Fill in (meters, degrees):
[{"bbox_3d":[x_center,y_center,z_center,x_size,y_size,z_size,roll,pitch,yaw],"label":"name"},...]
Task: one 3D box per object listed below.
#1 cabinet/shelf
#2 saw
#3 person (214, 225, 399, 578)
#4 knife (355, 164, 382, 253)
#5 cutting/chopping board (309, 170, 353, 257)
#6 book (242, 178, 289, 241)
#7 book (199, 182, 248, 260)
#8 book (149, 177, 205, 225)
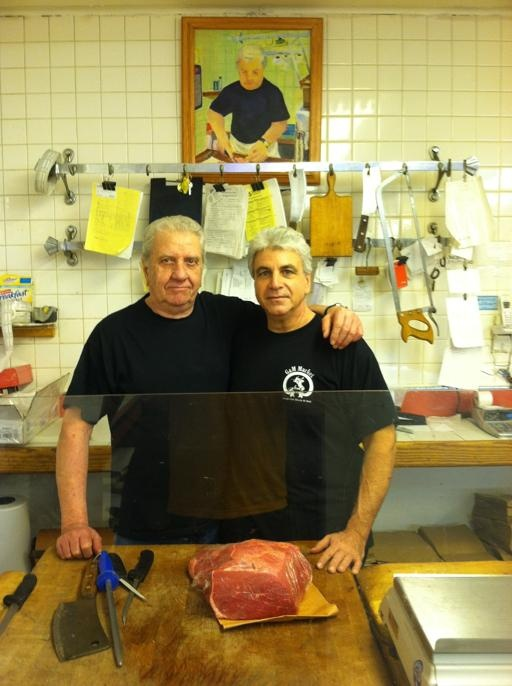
[{"bbox_3d":[-0.162,-0.678,3.205,1.873,0.482,0.296,0,11,1],"label":"cabinet/shelf"},{"bbox_3d":[0.613,-0.258,2.435,0.197,0.970,0.176,-3,11,-10],"label":"saw"},{"bbox_3d":[0.112,0.028,1.166,0.352,0.453,0.754,-2,15,0],"label":"person"},{"bbox_3d":[0.454,-0.532,2.360,0.087,0.369,0.043,2,23,1],"label":"knife"},{"bbox_3d":[0.309,-0.506,2.362,0.159,0.351,0.122,2,13,3],"label":"cutting/chopping board"},{"bbox_3d":[0.015,-0.522,2.427,0.244,0.333,0.191,0,11,-6],"label":"book"},{"bbox_3d":[-0.116,-0.502,2.403,0.229,0.378,0.094,-5,13,-18],"label":"book"},{"bbox_3d":[-0.329,-0.593,2.426,0.278,0.272,0.071,-2,3,14],"label":"book"}]
